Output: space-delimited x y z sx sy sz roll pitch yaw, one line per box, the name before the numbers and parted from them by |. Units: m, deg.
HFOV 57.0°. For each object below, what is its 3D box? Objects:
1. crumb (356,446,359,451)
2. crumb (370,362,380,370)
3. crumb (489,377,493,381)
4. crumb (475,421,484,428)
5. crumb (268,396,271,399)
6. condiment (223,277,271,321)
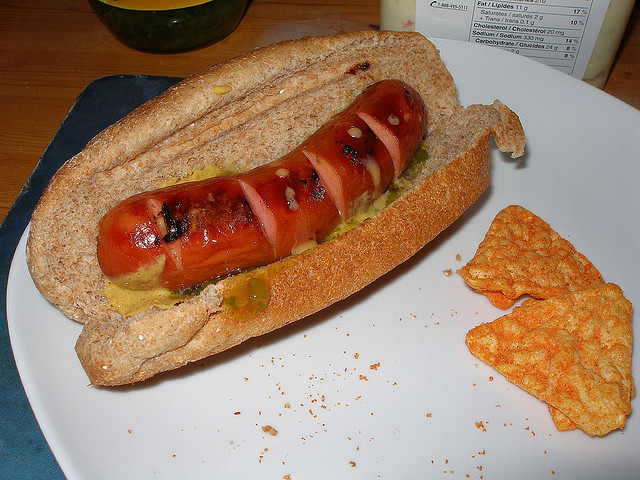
crumb | 0.163 0.905 2.554 0.008 0.005 0.015 19 85 8
crumb | 0.256 0.583 2.724 0.025 0.008 0.027 -14 59 -6
crumb | 0.783 0.638 2.705 0.016 0.005 0.017 -6 40 16
crumb | 0.699 0.815 2.594 0.021 0.007 0.023 -5 85 2
crumb | -0.229 0.716 2.680 0.009 0.003 0.004 -27 47 -28
condiment | -0.313 0.255 2.555 0.222 0.095 0.135 -24 65 -12
